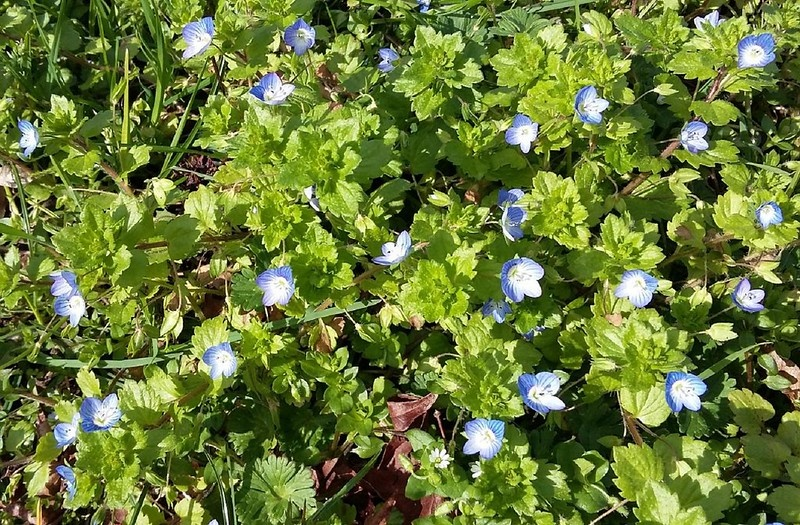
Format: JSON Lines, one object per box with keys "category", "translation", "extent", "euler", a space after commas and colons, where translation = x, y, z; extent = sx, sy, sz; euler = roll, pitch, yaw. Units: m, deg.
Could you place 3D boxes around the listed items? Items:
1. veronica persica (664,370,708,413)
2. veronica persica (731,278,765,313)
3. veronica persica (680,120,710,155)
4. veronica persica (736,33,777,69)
{"category": "veronica persica", "translation": [1.364, 0.618, 3.407], "extent": [0.178, 0.114, 0.176], "euler": [-2, 66, 4]}
{"category": "veronica persica", "translation": [1.852, 0.173, 3.798], "extent": [0.167, 0.093, 0.173], "euler": [37, 96, 28]}
{"category": "veronica persica", "translation": [1.599, -0.695, 3.868], "extent": [0.147, 0.161, 0.098], "euler": [-44, 16, 13]}
{"category": "veronica persica", "translation": [1.849, -1.092, 3.701], "extent": [0.179, 0.144, 0.162], "euler": [10, 67, 10]}
